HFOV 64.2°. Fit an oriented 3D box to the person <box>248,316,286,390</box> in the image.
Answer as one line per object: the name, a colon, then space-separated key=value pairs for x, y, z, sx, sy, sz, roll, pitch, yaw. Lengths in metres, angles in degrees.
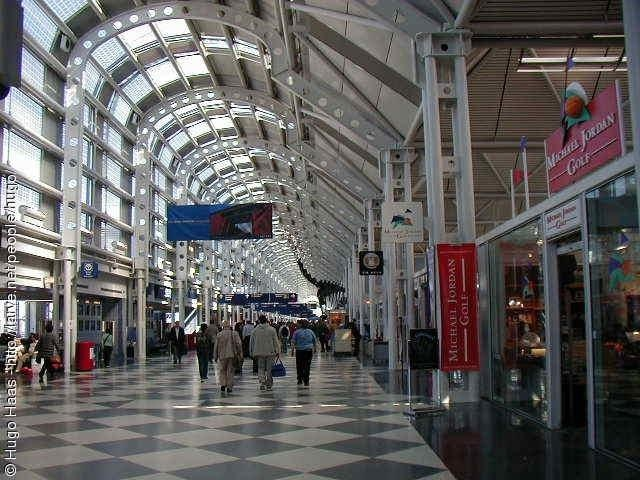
person: x=-1.372 y=2.791 z=12.638 sx=0.704 sy=1.802 sz=1.555 roll=-2 pitch=-14 yaw=-7

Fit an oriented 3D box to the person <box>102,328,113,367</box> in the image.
person: x=-8.850 y=4.456 z=21.067 sx=0.374 sy=1.615 sz=0.990 roll=2 pitch=-15 yaw=-23

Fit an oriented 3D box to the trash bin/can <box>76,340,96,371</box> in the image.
trash bin/can: x=-8.671 y=4.301 z=18.683 sx=0.601 sy=1.048 sz=0.596 roll=4 pitch=-16 yaw=-29

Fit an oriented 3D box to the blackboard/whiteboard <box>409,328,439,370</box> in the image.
blackboard/whiteboard: x=1.880 y=1.963 z=9.155 sx=0.584 sy=0.699 sz=0.263 roll=1 pitch=-15 yaw=-20
